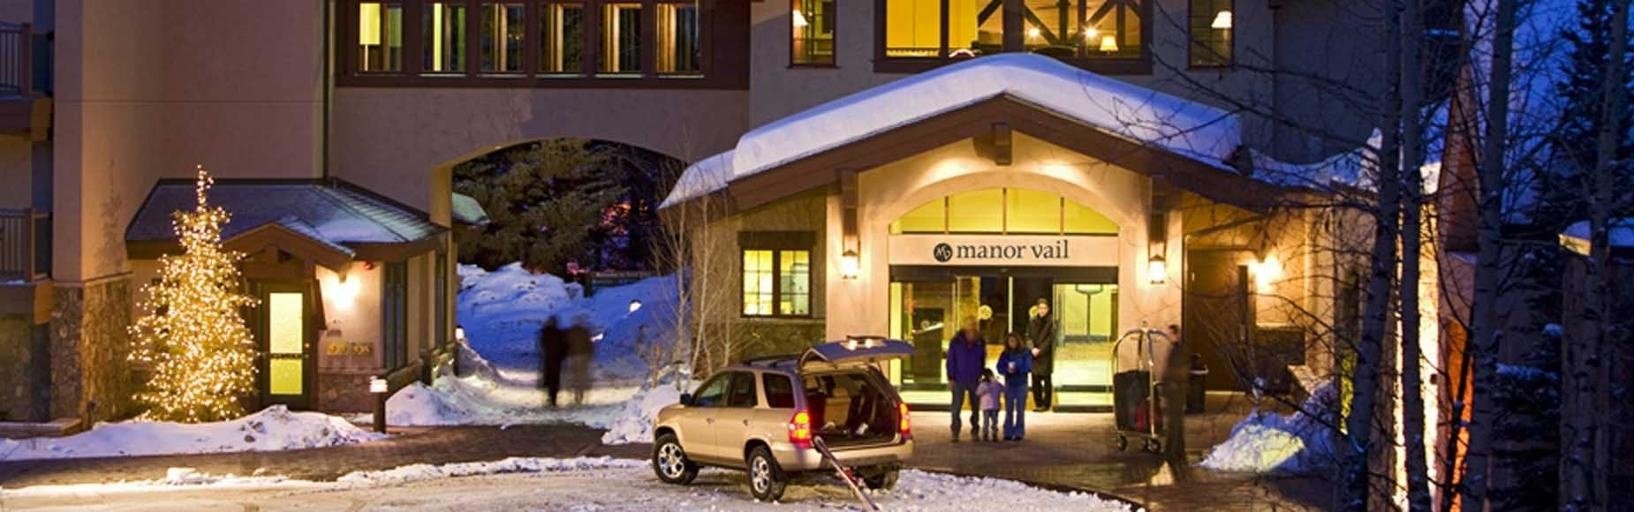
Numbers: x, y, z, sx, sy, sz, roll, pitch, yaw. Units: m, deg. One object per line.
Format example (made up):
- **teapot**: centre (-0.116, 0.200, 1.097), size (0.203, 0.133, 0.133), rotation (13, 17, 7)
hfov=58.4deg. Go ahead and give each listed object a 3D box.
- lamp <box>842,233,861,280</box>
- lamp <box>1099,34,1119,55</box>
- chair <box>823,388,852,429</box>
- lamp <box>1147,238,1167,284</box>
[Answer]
- **lamp**: centre (1.616, 0.037, 69.351), size (0.943, 2.007, 0.545), rotation (2, -7, -3)
- **lamp**: centre (14.688, -10.539, 72.925), size (1.275, 0.918, 0.954), rotation (0, 10, -2)
- **chair**: centre (0.845, 6.557, 62.412), size (1.520, 1.507, 1.706), rotation (1, 1, -1)
- **lamp**: centre (16.036, 0.327, 68.837), size (0.882, 2.003, 0.454), rotation (0, -8, 9)
